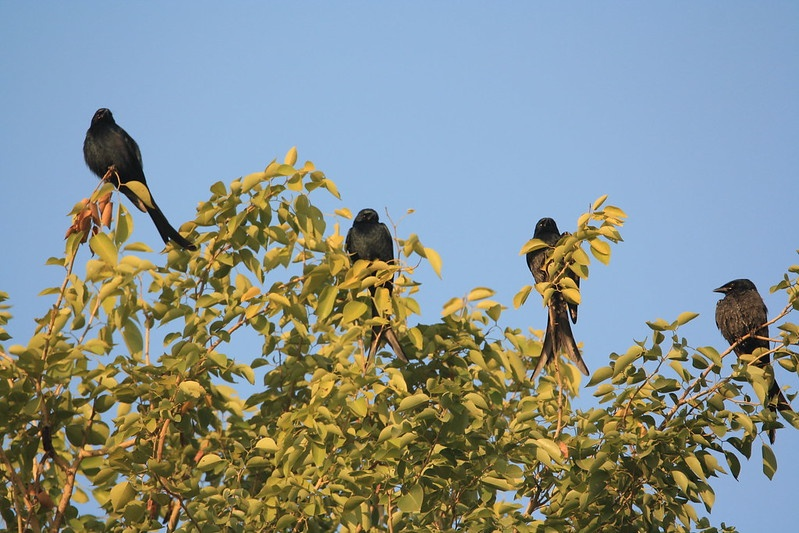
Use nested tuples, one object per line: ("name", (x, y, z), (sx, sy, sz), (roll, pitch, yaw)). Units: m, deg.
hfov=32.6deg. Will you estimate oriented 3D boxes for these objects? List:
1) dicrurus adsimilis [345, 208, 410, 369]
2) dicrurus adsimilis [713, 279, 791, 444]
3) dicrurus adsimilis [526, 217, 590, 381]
("dicrurus adsimilis", (-0.202, 0.104, 10.938), (0.439, 1.463, 0.454), (-3, -16, 0))
("dicrurus adsimilis", (2.263, 0.656, 8.754), (0.278, 1.102, 0.467), (-20, -30, 22))
("dicrurus adsimilis", (1.067, 0.273, 9.202), (0.426, 1.194, 0.363), (2, -12, -14))
